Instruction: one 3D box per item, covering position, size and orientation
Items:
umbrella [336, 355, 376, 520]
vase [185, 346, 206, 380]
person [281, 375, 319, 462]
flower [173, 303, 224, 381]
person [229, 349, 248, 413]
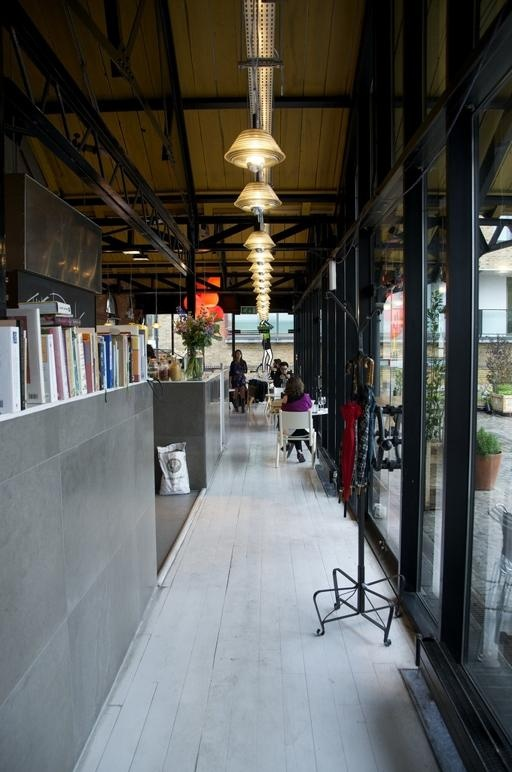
[{"bbox_3d":[0.545,0.234,2.635,0.202,1.377,0.255,0,-5,7],"label":"umbrella"},{"bbox_3d":[-0.834,-0.295,6.450,0.245,0.726,0.326,0,2,0],"label":"vase"},{"bbox_3d":[0.643,0.536,7.469,0.439,1.381,1.373,0,-1,5],"label":"person"},{"bbox_3d":[-0.805,-0.592,6.612,0.611,1.418,0.720,-1,1,4],"label":"flower"},{"bbox_3d":[-0.583,-0.139,14.781,0.531,1.921,1.108,0,-1,-5],"label":"person"}]
